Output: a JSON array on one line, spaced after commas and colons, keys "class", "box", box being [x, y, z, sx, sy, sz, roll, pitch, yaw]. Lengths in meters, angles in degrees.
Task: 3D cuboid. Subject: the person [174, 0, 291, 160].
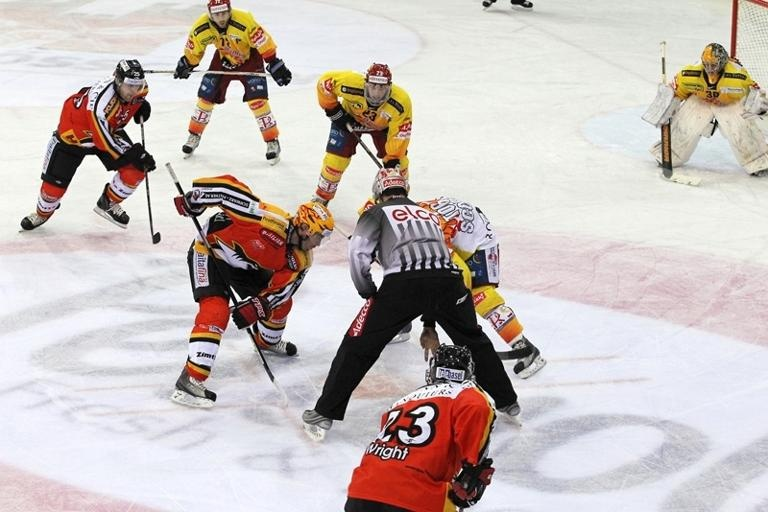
[{"class": "person", "box": [-1.554, -1.788, 8.472, 1.158, 1.623, 0.618, -1, 28, -9]}]

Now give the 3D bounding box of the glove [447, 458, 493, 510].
[{"class": "glove", "box": [0.458, 1.176, 4.346, 0.279, 0.141, 0.229, -49, 6, -12]}]

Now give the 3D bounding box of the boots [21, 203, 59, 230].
[{"class": "boots", "box": [-3.015, -0.340, 7.232, 0.275, 0.081, 0.185, -31, 6, -37]}]

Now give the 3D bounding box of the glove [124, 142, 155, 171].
[{"class": "glove", "box": [-2.069, -0.821, 6.918, 0.247, 0.257, 0.146, -4, 28, -14]}]

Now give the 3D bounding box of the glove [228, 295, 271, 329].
[{"class": "glove", "box": [-0.887, 0.370, 5.553, 0.279, 0.225, 0.142, -11, 30, -27]}]

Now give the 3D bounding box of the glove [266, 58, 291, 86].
[{"class": "glove", "box": [-1.092, -1.897, 8.526, 0.226, 0.307, 0.304, -1, 26, -8]}]

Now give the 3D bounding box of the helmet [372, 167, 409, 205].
[{"class": "helmet", "box": [0.064, -0.483, 5.478, 0.248, 0.218, 0.266, -9, 1, -3]}]

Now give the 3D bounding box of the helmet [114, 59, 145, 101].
[{"class": "helmet", "box": [-2.082, -1.466, 6.850, 0.311, 0.283, 0.327, -9, 35, -24]}]

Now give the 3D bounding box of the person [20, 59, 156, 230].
[{"class": "person", "box": [-2.529, -0.939, 7.043, 1.051, 1.495, 0.659, -3, 29, -13]}]

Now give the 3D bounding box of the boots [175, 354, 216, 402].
[{"class": "boots", "box": [-1.204, 0.813, 5.374, 0.381, 0.283, 0.148, 6, 1, 29]}]

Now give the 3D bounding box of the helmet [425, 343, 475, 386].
[{"class": "helmet", "box": [0.363, 0.590, 4.565, 0.249, 0.210, 0.231, 2, 1, 0]}]

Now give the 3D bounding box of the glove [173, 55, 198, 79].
[{"class": "glove", "box": [-2.058, -1.922, 8.508, 0.135, 0.287, 0.265, 31, 26, -20]}]

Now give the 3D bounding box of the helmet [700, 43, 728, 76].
[{"class": "helmet", "box": [3.283, -1.954, 8.323, 0.322, 0.290, 0.355, -5, 9, 17]}]

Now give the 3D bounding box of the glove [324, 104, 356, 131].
[{"class": "glove", "box": [-0.389, -1.239, 7.382, 0.231, 0.255, 0.092, -40, 10, 5]}]

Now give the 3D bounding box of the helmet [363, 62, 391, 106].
[{"class": "helmet", "box": [-0.070, -1.475, 7.069, 0.297, 0.338, 0.326, 4, 49, -4]}]
